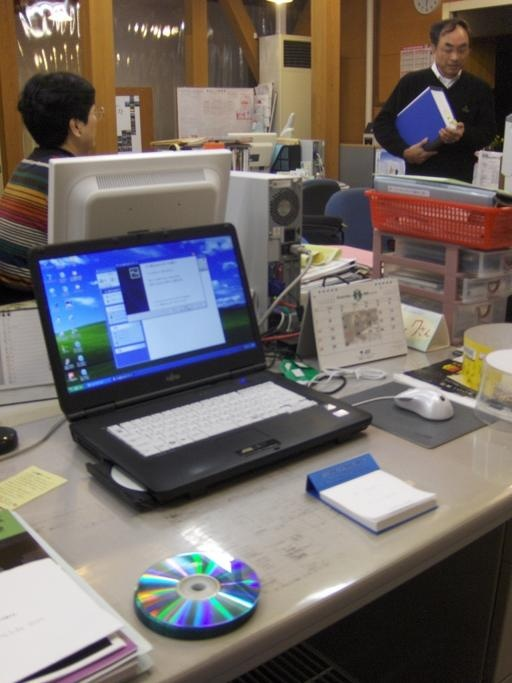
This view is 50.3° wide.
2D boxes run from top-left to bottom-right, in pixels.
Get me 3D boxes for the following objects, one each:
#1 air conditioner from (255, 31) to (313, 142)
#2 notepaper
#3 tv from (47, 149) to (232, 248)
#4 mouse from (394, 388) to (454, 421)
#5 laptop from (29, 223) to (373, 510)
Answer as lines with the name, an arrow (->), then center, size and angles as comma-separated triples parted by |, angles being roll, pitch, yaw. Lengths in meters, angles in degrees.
air conditioner -> 0.353, -2.888, 6.128 | 0.378, 1.236, 0.740 | -12, 26, -30
notepaper -> 0.158, 0.200, 0.697 | 0.072, 0.017, 0.072 | -16, 21, -34
tv -> -0.330, -0.384, 1.262 | 0.484, 0.241, 0.325 | -12, 26, -34
mouse -> 0.300, 0.111, 0.977 | 0.051, 0.031, 0.091 | -17, 23, -34
laptop -> -0.104, 0.026, 0.911 | 0.505, 0.354, 0.442 | -18, 24, -35
